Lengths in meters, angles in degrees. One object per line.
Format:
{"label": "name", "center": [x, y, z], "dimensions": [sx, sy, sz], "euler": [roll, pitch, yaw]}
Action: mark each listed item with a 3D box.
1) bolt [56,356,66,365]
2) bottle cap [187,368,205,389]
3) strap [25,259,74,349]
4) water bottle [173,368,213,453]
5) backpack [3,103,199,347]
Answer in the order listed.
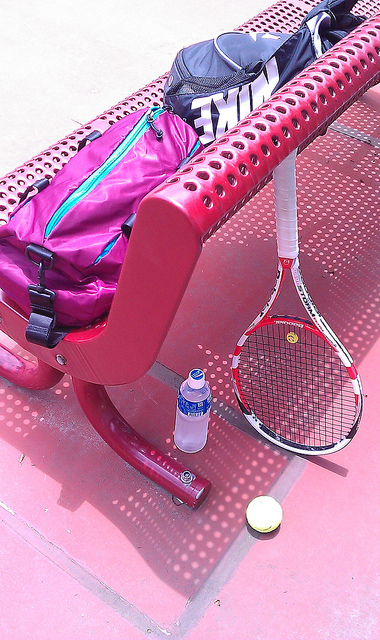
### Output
{"label": "bolt", "center": [-0.250, 0.078, 1.004], "dimensions": [0.012, 0.016, 0.004], "euler": [-11, 26, 34]}
{"label": "bottle cap", "center": [0.015, 0.128, 1.153], "dimensions": [0.039, 0.037, 0.039], "euler": [2, 50, -2]}
{"label": "strap", "center": [-0.256, -0.039, 0.938], "dimensions": [0.062, 0.155, 0.082], "euler": [10, 30, 8]}
{"label": "water bottle", "center": [0.005, 0.216, 1.181], "dimensions": [0.067, 0.235, 0.071], "euler": [0, 46, 0]}
{"label": "backpack", "center": [-0.177, -0.206, 1.136], "dimensions": [0.261, 0.224, 0.567], "euler": [31, 61, 9]}
